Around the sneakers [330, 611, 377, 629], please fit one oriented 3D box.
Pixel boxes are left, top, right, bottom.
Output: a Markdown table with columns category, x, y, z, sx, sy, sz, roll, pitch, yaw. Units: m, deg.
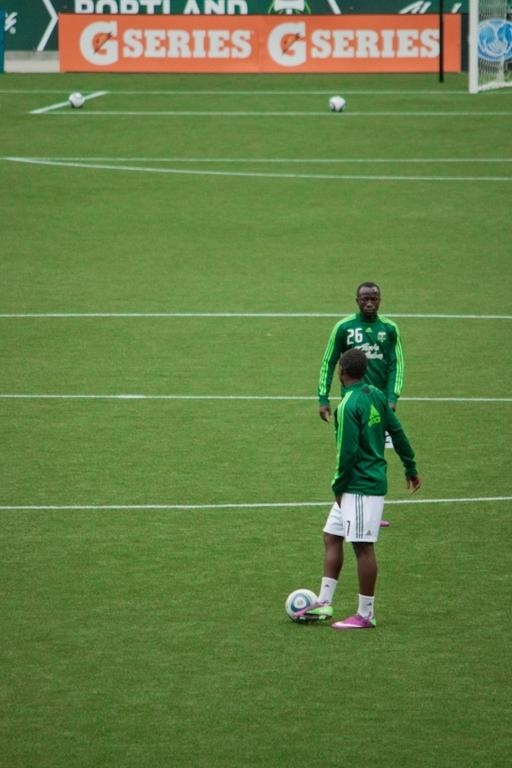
| category | x | y | z | sx | sy | sz | roll | pitch | yaw |
| --- | --- | --- | --- | --- | --- | --- | --- | --- | --- |
| sneakers | 0.526 | 1.239 | 8.263 | 0.220 | 0.106 | 0.097 | -1 | -5 | 3 |

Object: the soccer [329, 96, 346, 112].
| category | x | y | z | sx | sy | sz | roll | pitch | yaw |
| --- | --- | --- | --- | --- | --- | --- | --- | --- | --- |
| soccer | 1.596 | -5.406 | 30.058 | 0.325 | 0.389 | 0.274 | -6 | 19 | -35 |

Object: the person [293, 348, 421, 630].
| category | x | y | z | sx | sy | sz | roll | pitch | yaw |
| --- | --- | --- | --- | --- | --- | --- | --- | --- | --- |
| person | 0.525 | 0.557 | 8.273 | 0.460 | 1.468 | 0.576 | 4 | 13 | 21 |

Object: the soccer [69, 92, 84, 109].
| category | x | y | z | sx | sy | sz | roll | pitch | yaw |
| --- | --- | --- | --- | --- | --- | --- | --- | --- | --- |
| soccer | -3.553 | -5.605 | 30.851 | 0.256 | 0.315 | 0.677 | -2 | 13 | -9 |

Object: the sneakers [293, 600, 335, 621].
| category | x | y | z | sx | sy | sz | roll | pitch | yaw |
| --- | --- | --- | --- | --- | --- | --- | --- | --- | --- |
| sneakers | 0.316 | 1.214 | 8.365 | 0.221 | 0.132 | 0.088 | 3 | -5 | -9 |

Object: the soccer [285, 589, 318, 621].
| category | x | y | z | sx | sy | sz | roll | pitch | yaw |
| --- | --- | --- | --- | --- | --- | --- | --- | --- | --- |
| soccer | 0.248 | 1.174 | 8.330 | 0.139 | 0.167 | 0.091 | 11 | 4 | -6 |

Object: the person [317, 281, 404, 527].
| category | x | y | z | sx | sy | sz | roll | pitch | yaw |
| --- | --- | --- | --- | --- | --- | --- | --- | --- | --- |
| person | 0.641 | 0.147 | 9.694 | 0.469 | 1.638 | 0.409 | 4 | -14 | -3 |
